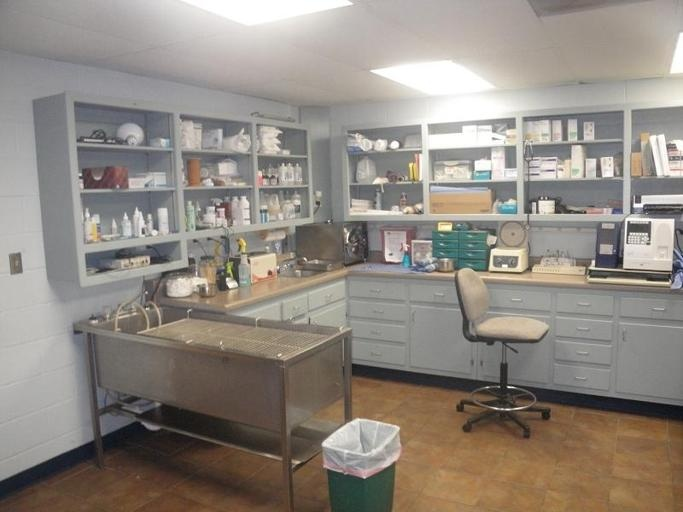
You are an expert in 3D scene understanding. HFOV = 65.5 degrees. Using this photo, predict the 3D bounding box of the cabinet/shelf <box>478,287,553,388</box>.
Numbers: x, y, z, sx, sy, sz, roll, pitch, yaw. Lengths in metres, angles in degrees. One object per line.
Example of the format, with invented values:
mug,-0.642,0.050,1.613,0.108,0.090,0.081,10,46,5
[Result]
cabinet/shelf,1.736,0.817,5.012,0.667,0.950,0.634,-2,-24,42

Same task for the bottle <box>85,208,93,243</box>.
bottle,-1.776,-0.217,3.721,0.051,0.218,0.119,-7,14,-21

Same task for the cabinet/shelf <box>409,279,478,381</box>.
cabinet/shelf,1.029,0.637,5.292,0.790,0.928,0.764,-2,12,-1

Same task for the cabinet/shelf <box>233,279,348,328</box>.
cabinet/shelf,-0.563,0.309,5.347,1.257,0.469,0.374,11,20,30

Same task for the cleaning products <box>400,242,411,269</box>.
cleaning products,0.685,-0.007,5.540,0.097,0.193,0.336,0,13,6

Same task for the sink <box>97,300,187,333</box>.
sink,-1.545,0.465,4.079,0.349,0.248,0.365,4,10,25

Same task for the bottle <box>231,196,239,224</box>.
bottle,-0.951,-0.406,4.777,0.076,0.224,0.180,-4,13,-10

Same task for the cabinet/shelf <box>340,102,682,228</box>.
cabinet/shelf,1.454,-0.846,5.191,3.034,1.104,0.483,4,15,24

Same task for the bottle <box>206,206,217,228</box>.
bottle,-1.117,-0.336,4.538,0.075,0.170,0.096,-2,13,-2

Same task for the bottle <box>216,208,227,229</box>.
bottle,-1.044,-0.336,4.629,0.090,0.157,0.175,-4,13,-11

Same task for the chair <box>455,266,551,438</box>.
chair,1.359,0.751,4.428,0.804,1.255,0.924,4,14,22

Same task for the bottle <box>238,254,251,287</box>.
bottle,-0.854,0.123,4.664,0.112,0.264,0.109,-2,13,0

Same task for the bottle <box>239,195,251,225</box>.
bottle,-0.870,-0.418,4.824,0.088,0.249,0.217,-3,13,-5

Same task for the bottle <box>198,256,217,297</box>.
bottle,-1.129,0.166,4.495,0.152,0.257,0.426,-5,14,-14

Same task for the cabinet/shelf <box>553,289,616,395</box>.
cabinet/shelf,2.200,0.668,4.799,0.500,0.956,0.623,3,19,28

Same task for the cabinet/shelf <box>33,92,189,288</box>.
cabinet/shelf,-1.692,-0.478,3.923,0.476,1.353,0.972,9,17,37
